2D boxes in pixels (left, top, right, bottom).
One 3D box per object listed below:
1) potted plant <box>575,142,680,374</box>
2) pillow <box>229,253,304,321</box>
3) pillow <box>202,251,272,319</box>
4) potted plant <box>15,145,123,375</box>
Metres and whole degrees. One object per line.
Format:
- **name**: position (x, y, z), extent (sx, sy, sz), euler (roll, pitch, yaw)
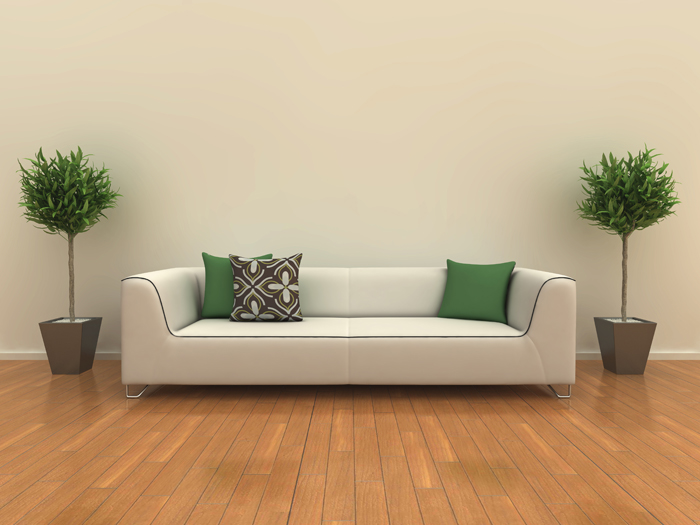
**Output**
- **potted plant**: position (2.355, -0.050, 4.141), extent (0.734, 1.844, 0.853), euler (7, 12, 34)
- **pillow**: position (-0.681, 0.188, 3.796), extent (0.587, 0.565, 0.223), euler (0, 0, 2)
- **pillow**: position (-0.904, 0.196, 3.765), extent (0.476, 0.478, 0.175), euler (-5, -12, -2)
- **potted plant**: position (-2.408, -0.066, 4.151), extent (0.698, 1.878, 0.848), euler (-7, 12, -34)
